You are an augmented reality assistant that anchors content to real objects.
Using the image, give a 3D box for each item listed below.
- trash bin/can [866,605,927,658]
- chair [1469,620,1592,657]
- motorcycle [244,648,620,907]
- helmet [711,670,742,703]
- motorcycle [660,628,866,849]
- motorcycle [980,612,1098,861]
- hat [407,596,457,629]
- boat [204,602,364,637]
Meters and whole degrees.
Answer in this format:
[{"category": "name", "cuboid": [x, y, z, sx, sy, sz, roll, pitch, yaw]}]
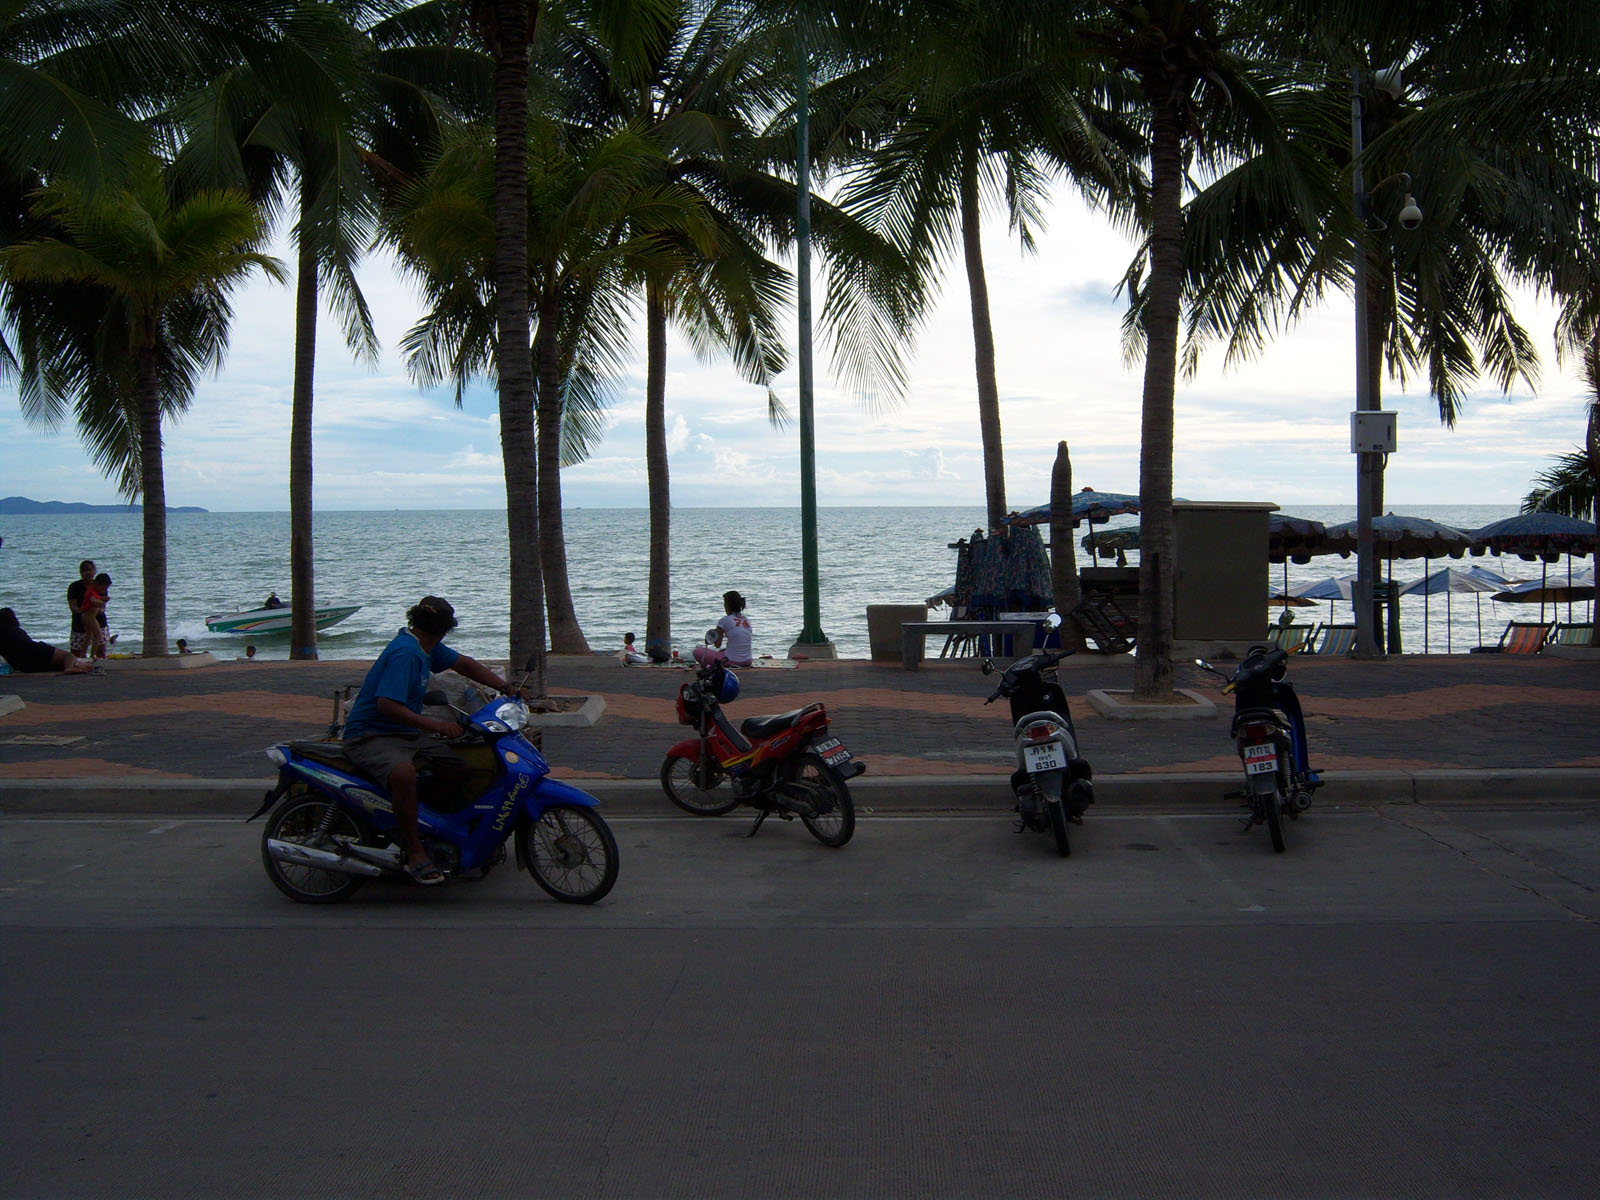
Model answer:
[{"category": "trash bin/can", "cuboid": [1.386, 0.461, 21.712, 0.800, 0.812, 0.712, 0, -1, -2]}, {"category": "chair", "cuboid": [15.218, 0.836, 32.222, 1.442, 0.749, 0.758, 2, 0, -33]}, {"category": "motorcycle", "cuboid": [-2.338, 1.245, 10.528, 2.356, 1.691, 1.200, -1, 0, 0]}, {"category": "helmet", "cuboid": [-0.567, 0.678, 12.172, 0.197, 0.267, 0.227, 1, -15, -5]}, {"category": "motorcycle", "cuboid": [-0.328, 1.097, 11.963, 0.572, 1.436, 1.935, -4, 3, -41]}, {"category": "motorcycle", "cuboid": [1.908, 0.948, 11.996, 0.759, 1.663, 2.280, -1, 3, 10]}, {"category": "hat", "cuboid": [-2.390, 0.084, 10.156, 0.226, 0.288, 0.296, 6, 12, 3]}, {"category": "boat", "cuboid": [-17.663, 0.802, 52.447, 4.411, 1.136, 8.103, -3, 3, -16]}]
